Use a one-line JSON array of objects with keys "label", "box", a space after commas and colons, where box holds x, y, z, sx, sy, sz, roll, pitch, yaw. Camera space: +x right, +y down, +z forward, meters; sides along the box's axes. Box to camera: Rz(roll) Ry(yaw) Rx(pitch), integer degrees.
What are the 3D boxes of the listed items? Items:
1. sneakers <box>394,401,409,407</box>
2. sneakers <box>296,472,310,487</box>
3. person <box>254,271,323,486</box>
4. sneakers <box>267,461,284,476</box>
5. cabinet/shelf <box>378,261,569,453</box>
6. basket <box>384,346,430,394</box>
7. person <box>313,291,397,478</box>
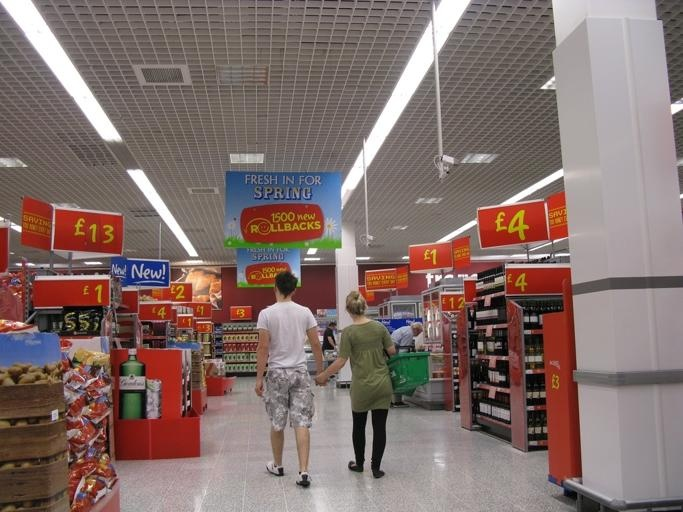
[{"label": "sneakers", "box": [1.178, 3.007, 10.041, 0.327, 0.128, 0.110, 1, -6, -10]}, {"label": "sneakers", "box": [-0.359, 2.095, 4.694, 0.140, 0.135, 0.208, -1, -10, -5]}, {"label": "person", "box": [-0.525, 1.178, 4.993, 0.670, 2.062, 0.639, -1, -10, -5]}, {"label": "sneakers", "box": [-0.684, 2.179, 5.140, 0.089, 0.107, 0.239, -1, 4, -20]}, {"label": "cabinet/shelf", "box": [1.825, 1.465, 6.961, 1.046, 2.776, 3.011, -1, -1, -8]}, {"label": "basket", "box": [0.721, 1.184, 5.256, 0.349, 0.289, 0.500, 0, -16, -9]}, {"label": "person", "box": [0.199, 1.250, 4.969, 0.688, 1.866, 0.745, -2, -10, 4]}]
